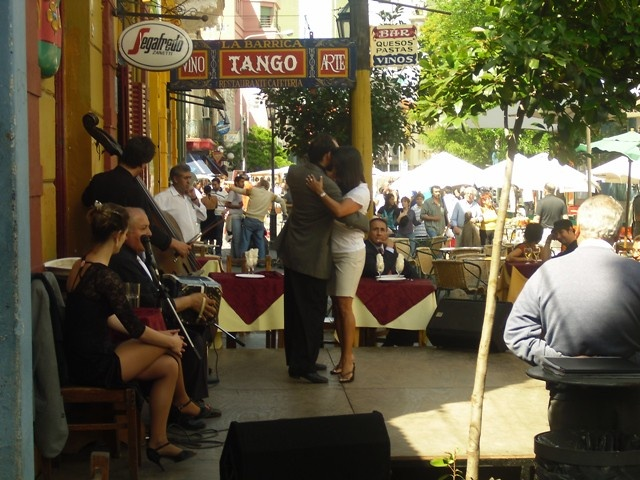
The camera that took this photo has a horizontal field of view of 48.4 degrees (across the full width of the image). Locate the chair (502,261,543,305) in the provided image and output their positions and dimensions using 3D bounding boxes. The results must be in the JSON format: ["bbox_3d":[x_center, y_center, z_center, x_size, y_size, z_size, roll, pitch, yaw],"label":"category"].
[{"bbox_3d":[2.689,0.543,9.638,0.767,0.494,0.823,0,-1,-2],"label":"chair"}]

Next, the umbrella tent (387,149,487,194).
[{"bbox_3d":[3.029,-1.617,17.656,1.318,0.571,1.387,-8,-6,31],"label":"umbrella tent"}]

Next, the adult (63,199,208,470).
[{"bbox_3d":[-1.295,0.674,4.942,0.914,1.756,0.595,2,-2,-29],"label":"adult"}]

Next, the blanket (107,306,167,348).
[{"bbox_3d":[-1.258,0.620,5.074,0.236,0.204,0.254,-2,-1,2],"label":"blanket"}]

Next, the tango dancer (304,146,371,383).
[{"bbox_3d":[0.168,0.232,6.803,0.623,2.191,0.675,1,5,-2],"label":"tango dancer"}]

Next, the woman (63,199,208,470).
[{"bbox_3d":[-1.332,0.677,4.923,0.821,1.753,0.588,2,-1,-29],"label":"woman"}]

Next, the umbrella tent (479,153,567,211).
[{"bbox_3d":[4.817,-1.543,16.902,2.591,1.002,2.796,-2,8,11],"label":"umbrella tent"}]

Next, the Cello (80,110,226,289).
[{"bbox_3d":[-1.636,-0.346,6.760,0.365,1.997,0.824,-20,27,11],"label":"Cello"}]

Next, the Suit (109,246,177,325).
[{"bbox_3d":[-1.330,0.368,5.429,0.221,0.618,0.449,-27,-3,11],"label":"Suit"}]

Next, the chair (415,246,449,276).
[{"bbox_3d":[2.007,0.397,13.463,0.511,0.784,0.595,-1,3,41],"label":"chair"}]

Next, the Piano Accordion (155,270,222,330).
[{"bbox_3d":[-1.022,0.416,5.744,0.577,0.526,0.345,4,10,-35],"label":"Piano Accordion"}]

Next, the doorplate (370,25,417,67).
[{"bbox_3d":[1.147,-3.034,11.074,0.735,0.641,0.409,1,7,5],"label":"doorplate"}]
